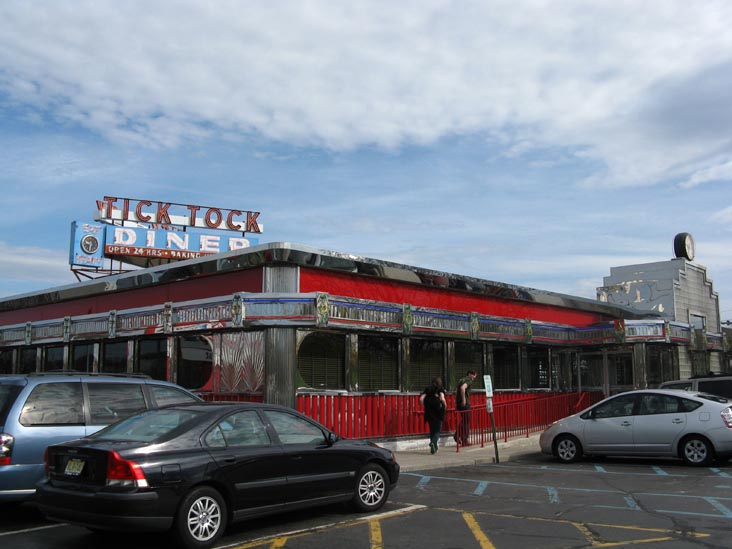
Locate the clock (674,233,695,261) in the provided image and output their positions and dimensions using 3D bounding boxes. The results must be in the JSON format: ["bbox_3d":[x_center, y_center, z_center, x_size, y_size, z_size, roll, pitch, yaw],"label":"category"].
[{"bbox_3d":[17.523,-1.533,33.587,0.993,1.523,1.438,5,-4,21],"label":"clock"}]

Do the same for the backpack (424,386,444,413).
[{"bbox_3d":[1.961,3.600,17.768,0.847,0.751,0.450,-6,-8,38],"label":"backpack"}]
